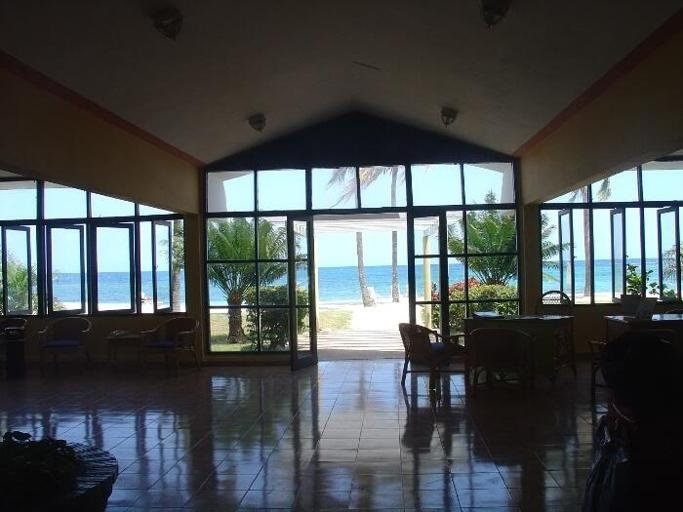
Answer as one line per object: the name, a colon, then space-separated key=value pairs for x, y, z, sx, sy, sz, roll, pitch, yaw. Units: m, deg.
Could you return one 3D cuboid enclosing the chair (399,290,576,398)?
chair: x=2.194 y=1.188 z=7.484 sx=1.390 sy=0.904 sz=1.417 roll=-1 pitch=-1 yaw=16
